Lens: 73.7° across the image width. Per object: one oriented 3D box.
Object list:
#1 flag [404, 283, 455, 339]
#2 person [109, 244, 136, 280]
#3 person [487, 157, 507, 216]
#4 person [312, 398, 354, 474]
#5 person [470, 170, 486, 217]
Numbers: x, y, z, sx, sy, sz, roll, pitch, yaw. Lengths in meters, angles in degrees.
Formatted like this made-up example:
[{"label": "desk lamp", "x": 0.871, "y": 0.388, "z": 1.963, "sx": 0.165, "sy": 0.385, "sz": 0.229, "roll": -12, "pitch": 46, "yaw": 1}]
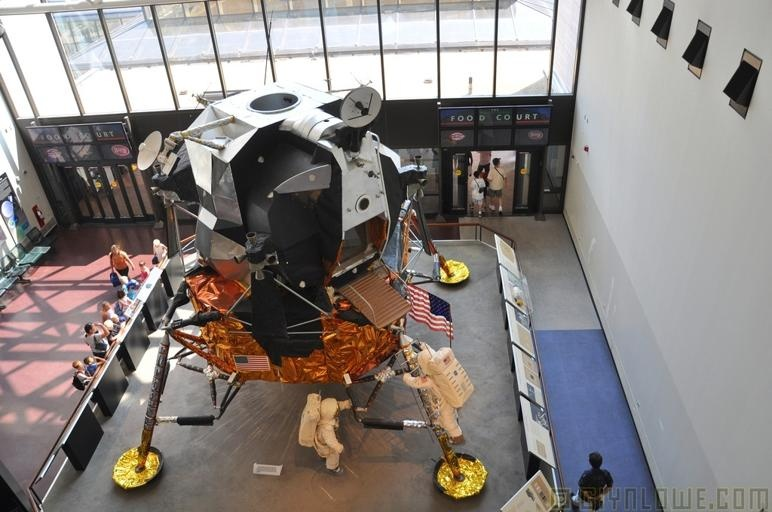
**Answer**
[{"label": "flag", "x": 1.234, "y": 1.628, "z": 14.624, "sx": 1.520, "sy": 0.214, "sz": 1.202, "roll": 28, "pitch": 45, "yaw": -28}, {"label": "person", "x": -9.765, "y": 0.380, "z": 19.306, "sx": 0.802, "sy": 1.795, "sz": 0.490, "roll": 0, "pitch": 34, "yaw": -3}, {"label": "person", "x": 4.538, "y": -2.835, "z": 21.125, "sx": 0.688, "sy": 2.432, "sz": 0.627, "roll": 0, "pitch": 25, "yaw": 11}, {"label": "person", "x": -1.323, "y": 4.332, "z": 12.589, "sx": 0.948, "sy": 1.937, "sz": 1.307, "roll": 0, "pitch": 30, "yaw": 1}, {"label": "person", "x": 3.831, "y": -2.530, "z": 21.145, "sx": 0.583, "sy": 1.960, "sz": 0.647, "roll": -3, "pitch": 25, "yaw": 4}]
